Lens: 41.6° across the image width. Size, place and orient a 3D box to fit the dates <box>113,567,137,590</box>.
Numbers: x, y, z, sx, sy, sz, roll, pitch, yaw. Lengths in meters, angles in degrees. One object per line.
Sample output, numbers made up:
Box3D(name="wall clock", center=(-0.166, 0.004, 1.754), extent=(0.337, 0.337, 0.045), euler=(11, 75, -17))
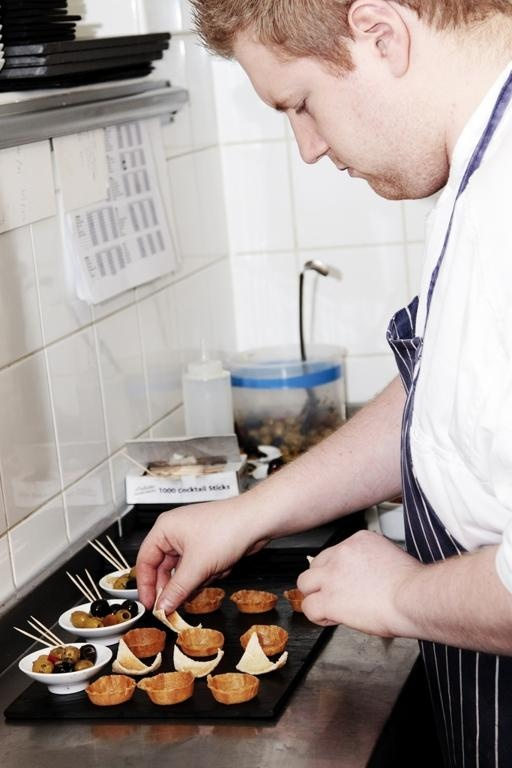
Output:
Box3D(name="dates", center=(-0.197, 0.288, 0.993), extent=(0.026, 0.010, 0.028), euler=(-9, 42, 16))

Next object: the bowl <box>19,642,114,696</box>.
Box3D(name="bowl", center=(-0.216, 0.327, 0.766), extent=(0.105, 0.100, 0.038), euler=(11, 52, -40))

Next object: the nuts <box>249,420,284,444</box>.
Box3D(name="nuts", center=(0.022, 0.106, 1.465), extent=(0.059, 0.039, 0.051), euler=(-1, 0, 25))

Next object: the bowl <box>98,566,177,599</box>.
Box3D(name="bowl", center=(-0.164, 0.279, 0.939), extent=(0.082, 0.021, 0.080), euler=(3, 7, 0))

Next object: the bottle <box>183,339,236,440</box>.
Box3D(name="bottle", center=(-0.106, 0.049, 1.481), extent=(0.107, 0.217, 0.111), euler=(-3, 21, 1))
